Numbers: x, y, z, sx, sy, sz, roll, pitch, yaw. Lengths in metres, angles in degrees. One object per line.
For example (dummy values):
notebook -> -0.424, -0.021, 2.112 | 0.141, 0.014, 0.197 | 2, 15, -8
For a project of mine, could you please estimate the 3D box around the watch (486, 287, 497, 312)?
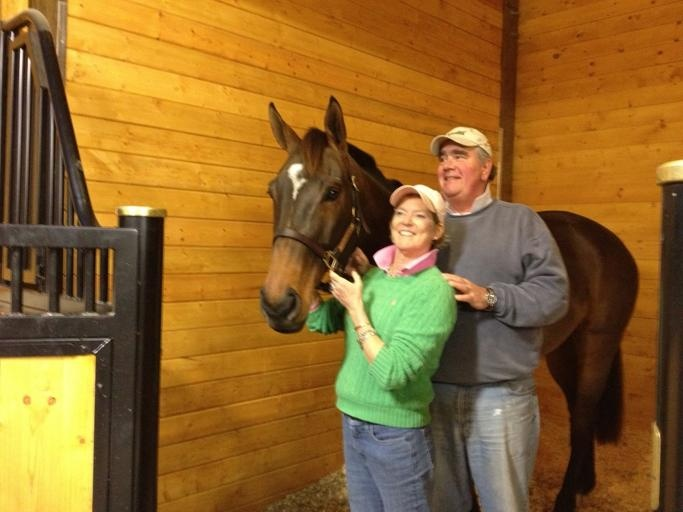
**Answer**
watch -> 0.467, 0.136, 1.931 | 0.026, 0.059, 0.046 | -3, 28, -14
